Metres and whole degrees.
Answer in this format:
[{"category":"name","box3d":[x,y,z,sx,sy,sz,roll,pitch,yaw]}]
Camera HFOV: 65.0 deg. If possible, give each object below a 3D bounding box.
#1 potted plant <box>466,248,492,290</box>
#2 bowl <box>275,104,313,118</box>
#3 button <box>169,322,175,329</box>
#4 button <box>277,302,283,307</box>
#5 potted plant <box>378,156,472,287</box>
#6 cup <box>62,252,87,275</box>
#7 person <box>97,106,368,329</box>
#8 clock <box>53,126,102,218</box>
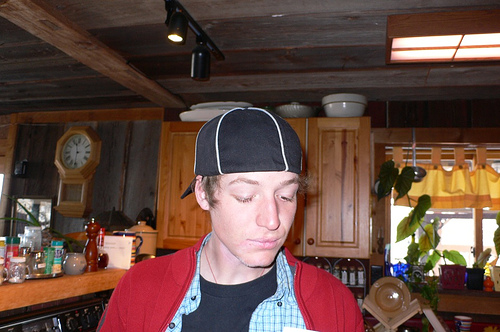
[{"category":"potted plant","box3d":[2.387,1.044,4.067,0.168,0.344,0.967,-5,-9,34]},{"category":"bowl","box3d":[0.399,-0.511,3.575,0.202,0.061,0.195,-1,-2,0]},{"category":"button","box3d":[-0.322,0.655,1.604,0.022,0.011,0.020,6,-6,0]},{"category":"button","box3d":[0.123,0.574,1.632,0.023,0.017,0.002,5,-9,-28]},{"category":"potted plant","box3d":[1.780,0.672,3.925,0.517,1.147,0.553,-9,-17,-33]},{"category":"cup","box3d":[-1.053,0.574,2.312,0.177,0.134,0.133,-6,-12,28]},{"category":"person","box3d":[-0.070,0.229,1.688,1.075,0.932,0.358,-1,-8,10]},{"category":"clock","box3d":[-1.843,0.042,4.158,0.413,0.944,0.254,4,-9,-25]}]
